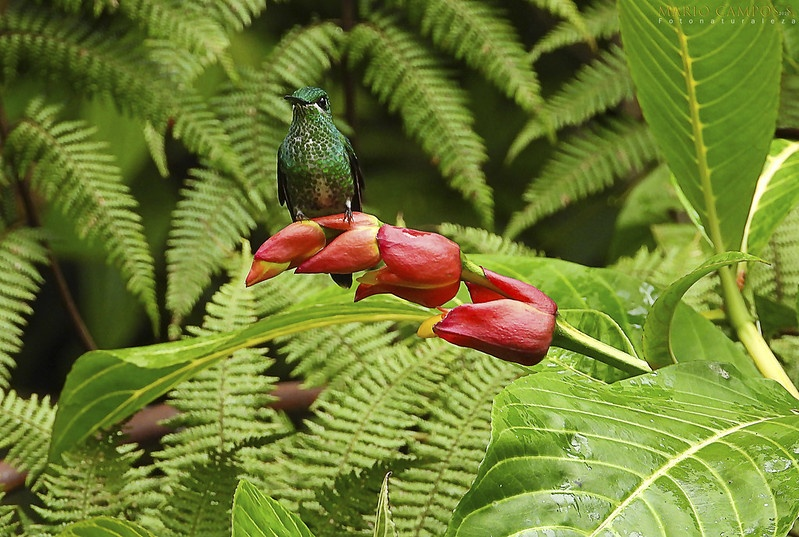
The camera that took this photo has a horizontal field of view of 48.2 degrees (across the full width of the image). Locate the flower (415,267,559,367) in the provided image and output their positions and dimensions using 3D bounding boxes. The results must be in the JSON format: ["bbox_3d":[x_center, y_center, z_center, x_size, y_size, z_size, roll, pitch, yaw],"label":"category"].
[{"bbox_3d":[0.171,0.091,1.598,0.175,0.086,0.187,23,37,10],"label":"flower"}]

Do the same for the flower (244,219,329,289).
[{"bbox_3d":[-0.200,-0.038,1.640,0.165,0.065,0.081,-37,37,-14],"label":"flower"}]

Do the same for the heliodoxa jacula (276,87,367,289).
[{"bbox_3d":[-0.182,-0.220,2.010,0.174,0.351,0.369,-6,-2,6],"label":"heliodoxa jacula"}]

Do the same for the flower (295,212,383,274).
[{"bbox_3d":[-0.109,-0.037,1.591,0.119,0.115,0.046,-20,-15,-8],"label":"flower"}]

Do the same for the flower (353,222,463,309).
[{"bbox_3d":[0.028,0.003,1.583,0.161,0.130,0.101,0,61,1],"label":"flower"}]
